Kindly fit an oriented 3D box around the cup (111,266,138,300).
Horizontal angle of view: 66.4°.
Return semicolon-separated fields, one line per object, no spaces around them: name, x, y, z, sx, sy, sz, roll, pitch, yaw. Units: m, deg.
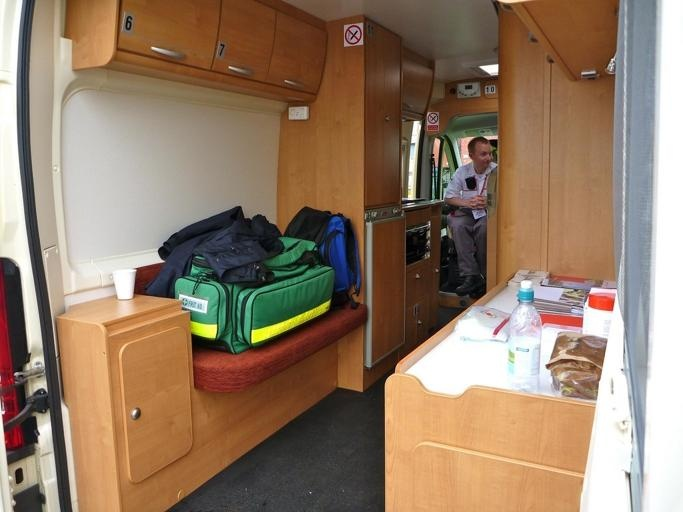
cup;-0.977;0.130;2.430;0.124;0.146;0.130;2;2;0

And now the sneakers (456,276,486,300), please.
sneakers;1.374;0.343;5.570;0.155;0.188;0.431;-1;-2;36

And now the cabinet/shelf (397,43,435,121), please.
cabinet/shelf;0.621;-1.495;4.431;0.313;0.622;0.638;6;21;21
